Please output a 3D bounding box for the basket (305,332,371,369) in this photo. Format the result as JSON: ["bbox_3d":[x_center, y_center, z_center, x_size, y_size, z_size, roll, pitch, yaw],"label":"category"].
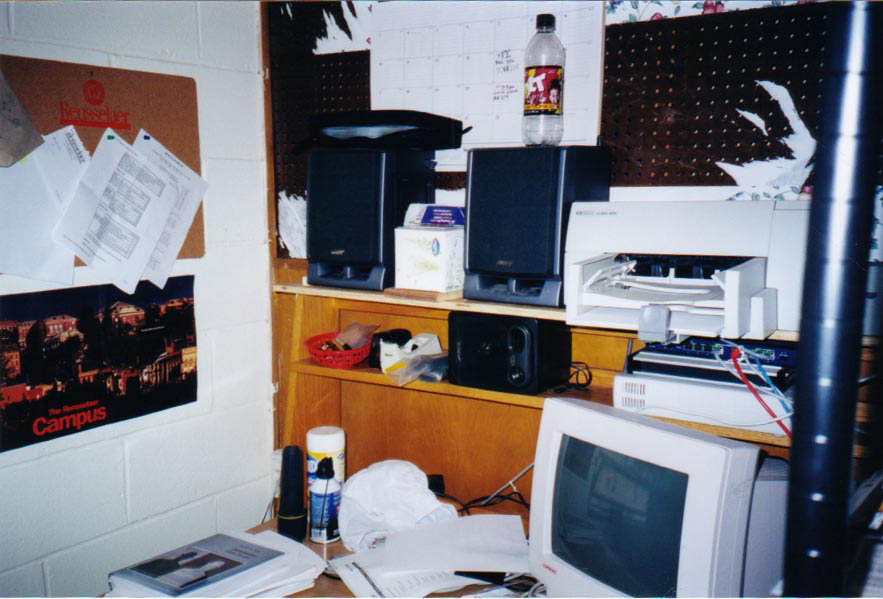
[{"bbox_3d":[-0.334,0.166,2.196,0.173,0.083,0.261,-2,7,-34],"label":"basket"}]

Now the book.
[{"bbox_3d":[-0.585,0.709,1.823,0.256,0.061,0.265,4,5,31],"label":"book"}]

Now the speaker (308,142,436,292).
[{"bbox_3d":[-0.212,-0.252,2.181,0.329,0.410,0.359,8,10,41],"label":"speaker"}]

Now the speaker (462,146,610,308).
[{"bbox_3d":[0.260,-0.207,1.961,0.331,0.415,0.318,8,9,40],"label":"speaker"}]

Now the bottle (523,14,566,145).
[{"bbox_3d":[0.296,-0.622,1.964,0.124,0.377,0.249,2,5,7],"label":"bottle"}]

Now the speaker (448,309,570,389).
[{"bbox_3d":[0.203,0.150,2.011,0.320,0.215,0.234,3,2,34],"label":"speaker"}]

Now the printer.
[{"bbox_3d":[0.607,-0.073,1.725,0.574,0.320,0.401,6,11,41],"label":"printer"}]
